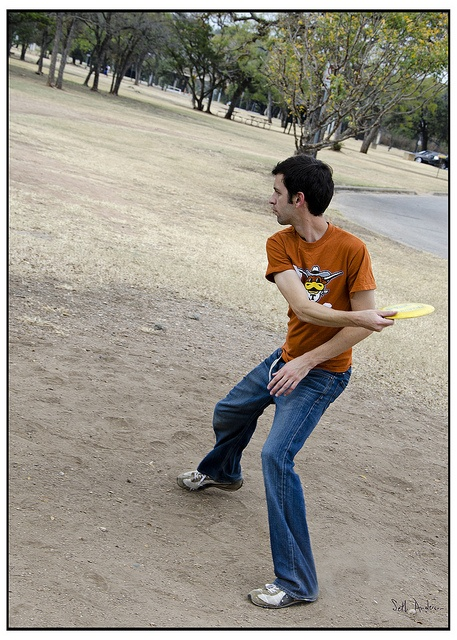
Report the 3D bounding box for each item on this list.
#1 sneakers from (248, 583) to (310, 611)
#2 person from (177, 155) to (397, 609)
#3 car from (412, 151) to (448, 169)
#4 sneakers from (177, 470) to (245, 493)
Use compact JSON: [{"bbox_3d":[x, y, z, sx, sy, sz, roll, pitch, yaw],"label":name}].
[{"bbox_3d":[0.234,1.266,2.968,0.267,0.090,0.088,7,-6,-10],"label":"sneakers"},{"bbox_3d":[0.313,0.234,3.258,0.560,1.376,1.001,11,9,-23],"label":"person"},{"bbox_3d":[21.795,-17.186,69.171,3.177,0.792,2.295,6,29,7],"label":"car"},{"bbox_3d":[-0.085,0.946,3.880,0.411,0.174,0.133,6,33,-13],"label":"sneakers"}]
